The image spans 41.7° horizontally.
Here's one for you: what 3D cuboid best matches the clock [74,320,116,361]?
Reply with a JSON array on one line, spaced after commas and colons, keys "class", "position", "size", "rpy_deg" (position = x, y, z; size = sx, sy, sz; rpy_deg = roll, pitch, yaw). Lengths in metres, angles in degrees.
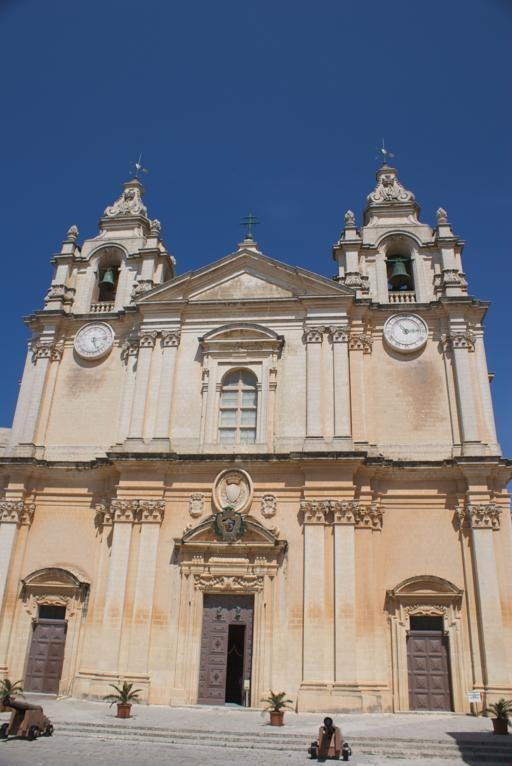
[{"class": "clock", "position": [-5.994, -1.538, 25.263], "size": [1.797, 1.933, 0.264], "rpy_deg": [0, -35, 7]}]
